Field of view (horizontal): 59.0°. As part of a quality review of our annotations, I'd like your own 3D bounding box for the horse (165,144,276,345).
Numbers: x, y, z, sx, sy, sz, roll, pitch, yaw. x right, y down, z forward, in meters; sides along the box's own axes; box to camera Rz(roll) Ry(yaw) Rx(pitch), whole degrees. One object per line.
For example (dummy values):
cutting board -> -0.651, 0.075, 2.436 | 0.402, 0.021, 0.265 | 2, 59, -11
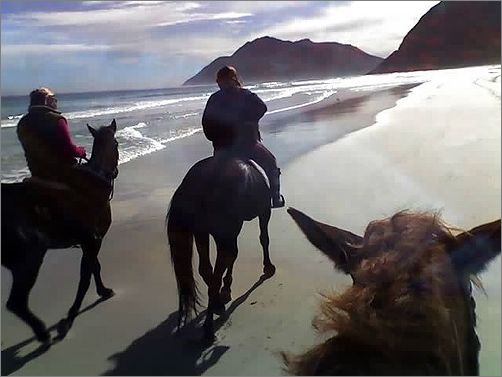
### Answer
horse -> -0.390, 0.634, 5.222 | 1.155, 1.896, 0.890 | -7, 22, -15
